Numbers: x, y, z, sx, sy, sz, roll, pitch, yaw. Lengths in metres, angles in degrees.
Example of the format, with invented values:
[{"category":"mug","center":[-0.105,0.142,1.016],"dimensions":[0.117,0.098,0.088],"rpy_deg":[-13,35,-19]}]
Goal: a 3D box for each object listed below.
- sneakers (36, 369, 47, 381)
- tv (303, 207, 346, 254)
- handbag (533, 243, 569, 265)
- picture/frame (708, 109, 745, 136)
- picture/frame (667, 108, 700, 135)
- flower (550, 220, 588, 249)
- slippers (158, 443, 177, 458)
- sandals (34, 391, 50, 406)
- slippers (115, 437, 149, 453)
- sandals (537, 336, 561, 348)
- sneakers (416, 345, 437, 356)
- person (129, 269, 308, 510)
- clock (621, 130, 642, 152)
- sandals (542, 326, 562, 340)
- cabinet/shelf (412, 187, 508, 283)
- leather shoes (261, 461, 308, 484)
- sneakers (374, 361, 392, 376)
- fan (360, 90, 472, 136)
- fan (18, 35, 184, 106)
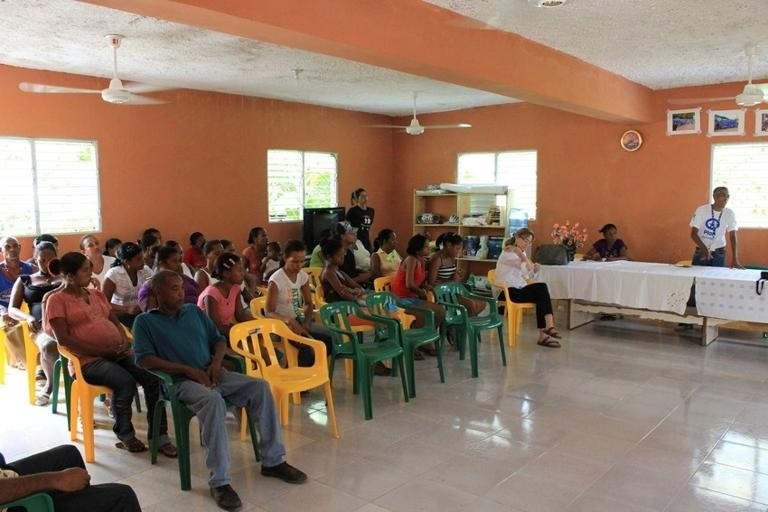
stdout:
[{"category":"sneakers","center":[-3.627,1.250,5.837],"dimensions":[0.298,0.103,0.101],"rpy_deg":[-3,-3,43]},{"category":"tv","center":[-1.217,-0.500,9.860],"dimensions":[0.487,0.812,0.931],"rpy_deg":[12,11,32]},{"category":"handbag","center":[2.287,-0.022,7.649],"dimensions":[0.379,0.202,0.359],"rpy_deg":[0,2,18]},{"category":"picture/frame","center":[4.998,-1.957,8.061],"dimensions":[0.479,0.373,0.060],"rpy_deg":[3,7,37]},{"category":"picture/frame","center":[4.513,-2.030,8.317],"dimensions":[0.483,0.401,0.068],"rpy_deg":[4,9,40]},{"category":"flower","center":[2.924,-0.338,8.679],"dimensions":[0.463,0.422,0.466],"rpy_deg":[2,-26,-3]},{"category":"slippers","center":[-1.695,1.530,4.365],"dimensions":[0.172,0.062,0.080],"rpy_deg":[3,4,33]},{"category":"sandals","center":[-3.197,1.348,5.237],"dimensions":[0.069,0.069,0.192],"rpy_deg":[7,8,5]},{"category":"slippers","center":[-2.014,1.505,4.451],"dimensions":[0.244,0.083,0.117],"rpy_deg":[0,4,20]},{"category":"sandals","center":[2.057,1.036,6.875],"dimensions":[0.262,0.123,0.271],"rpy_deg":[4,13,17]},{"category":"sneakers","center":[0.520,1.120,6.559],"dimensions":[0.262,0.089,0.085],"rpy_deg":[-1,-1,26]},{"category":"person","center":[-1.271,0.915,4.056],"dimensions":[1.123,1.508,0.609],"rpy_deg":[13,19,40]},{"category":"clock","center":[3.899,-1.814,8.714],"dimensions":[0.318,0.325,0.088],"rpy_deg":[5,16,20]},{"category":"sandals","center":[2.105,0.947,6.854],"dimensions":[0.112,0.108,0.291],"rpy_deg":[-5,10,-41]},{"category":"cabinet/shelf","center":[1.325,-0.363,8.974],"dimensions":[1.955,1.893,0.626],"rpy_deg":[4,7,32]},{"category":"leather shoes","center":[-0.722,1.597,4.122],"dimensions":[0.376,0.114,0.132],"rpy_deg":[2,2,21]},{"category":"sneakers","center":[-0.064,1.198,5.873],"dimensions":[0.271,0.092,0.090],"rpy_deg":[-3,0,29]},{"category":"fan","center":[0.493,-2.478,9.698],"dimensions":[1.827,0.611,1.580],"rpy_deg":[-9,20,-23]},{"category":"fan","center":[-3.550,-2.192,6.774],"dimensions":[1.414,0.692,2.648],"rpy_deg":[-2,13,-9]}]
